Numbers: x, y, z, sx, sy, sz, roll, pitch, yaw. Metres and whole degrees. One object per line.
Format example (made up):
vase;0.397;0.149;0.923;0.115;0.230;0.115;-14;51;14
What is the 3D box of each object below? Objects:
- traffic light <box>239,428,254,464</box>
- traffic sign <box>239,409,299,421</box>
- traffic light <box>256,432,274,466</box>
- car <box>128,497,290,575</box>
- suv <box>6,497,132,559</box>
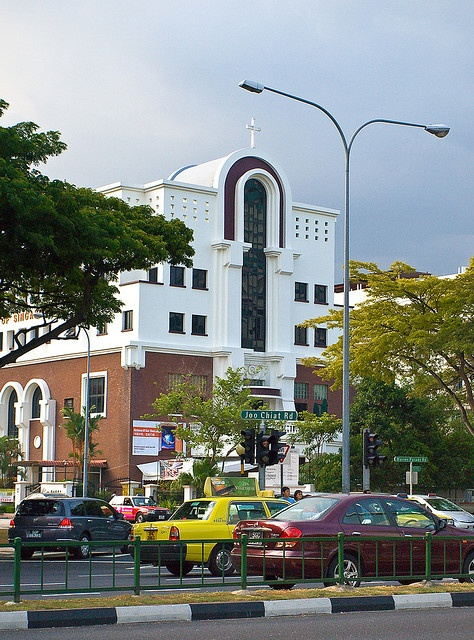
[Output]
traffic light;0.214;2.789;34.934;0.315;0.748;0.737;0;-5;0
traffic sign;0.760;2.100;35.067;1.226;0.199;0.773;4;-7;-39
traffic light;0.580;2.837;34.742;0.291;0.726;0.506;3;-6;-32
car;-0.661;3.933;29.059;2.975;1.168;1.339;1;-4;-39
suv;-3.643;4.741;37.772;2.191;1.057;4.234;-3;-6;30
